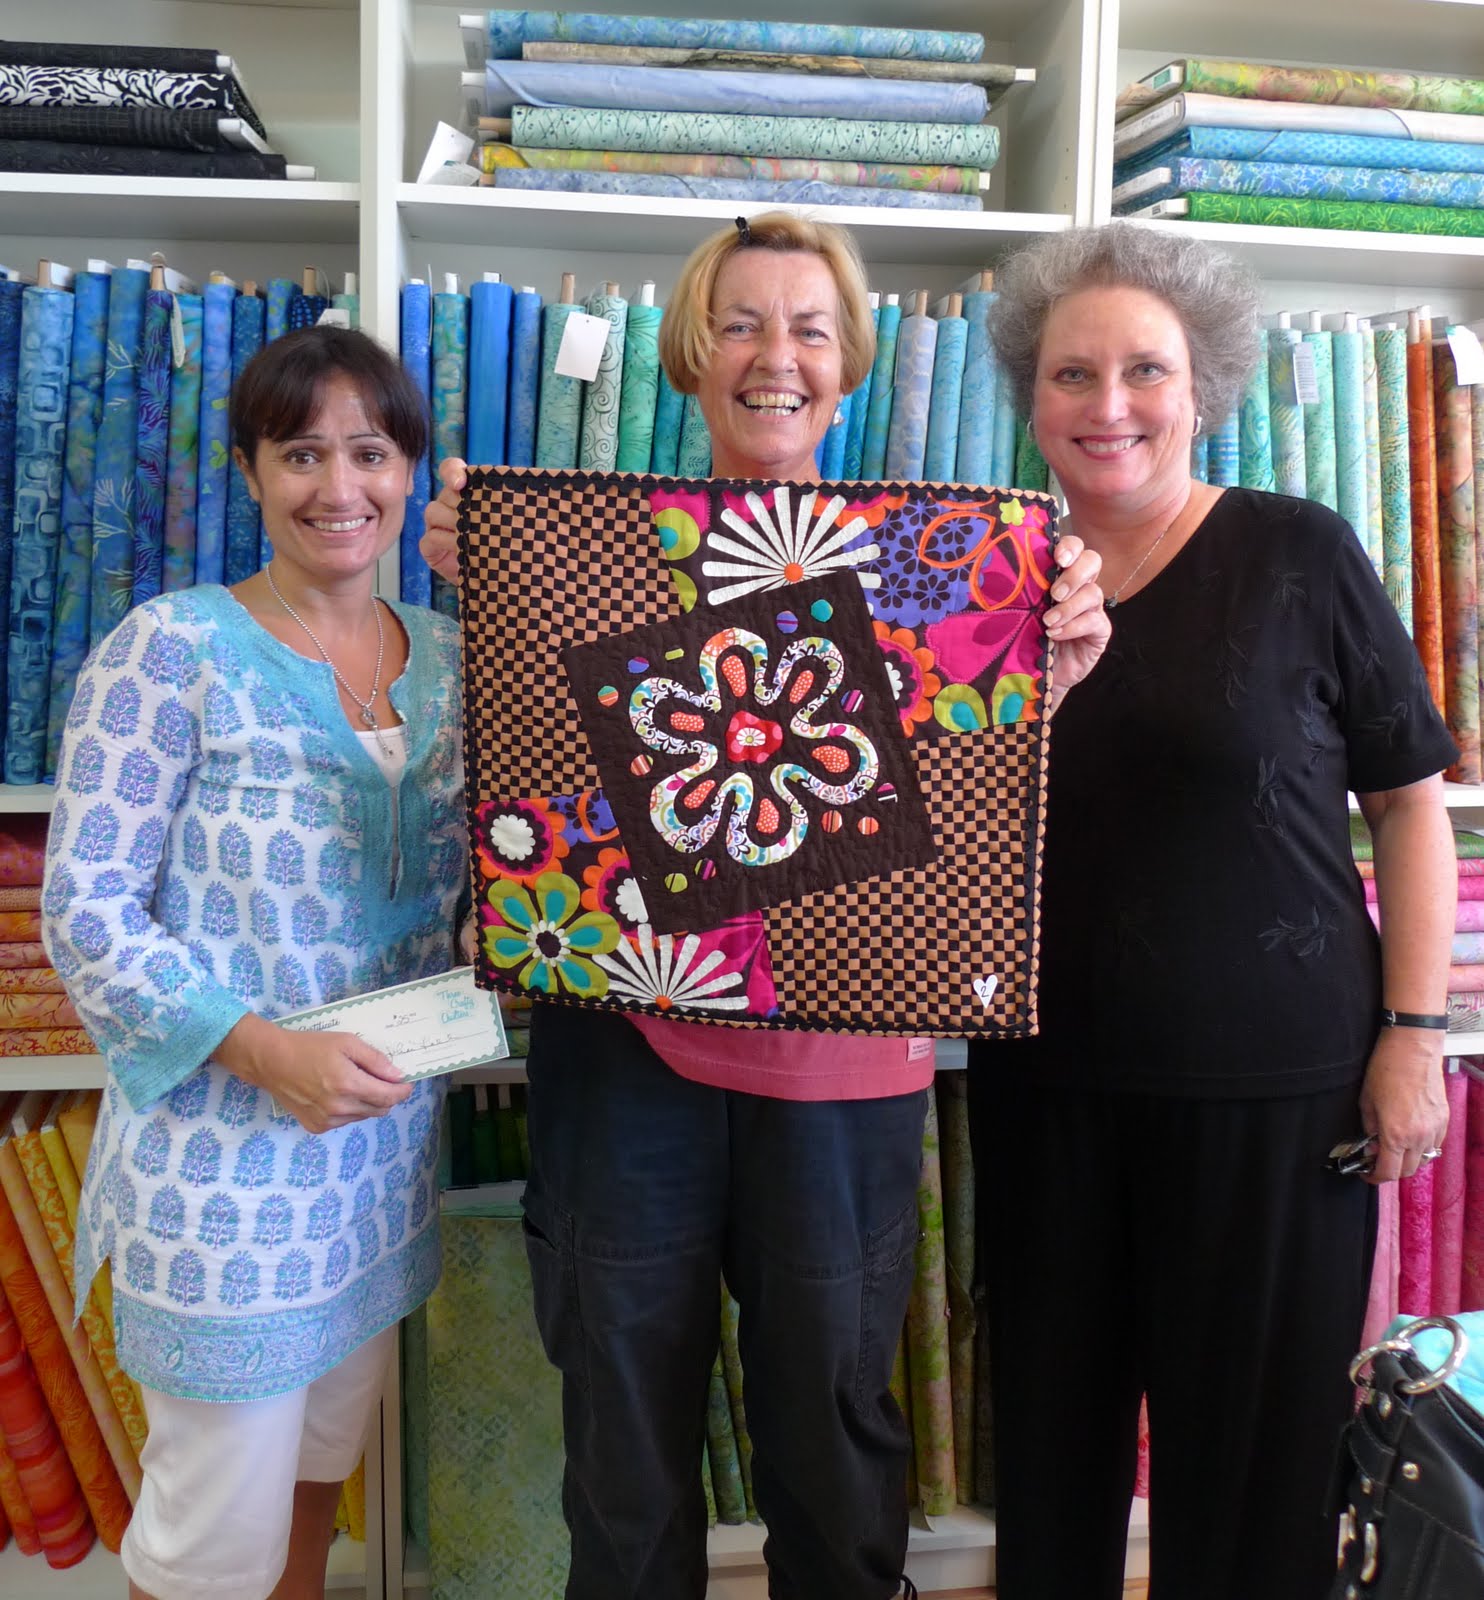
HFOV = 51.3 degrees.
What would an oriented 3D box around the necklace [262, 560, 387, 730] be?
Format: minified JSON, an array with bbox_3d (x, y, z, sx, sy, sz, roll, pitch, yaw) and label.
[{"bbox_3d":[-0.470,-0.163,1.731,0.140,0.189,0.083,-16,-4,-31],"label":"necklace"}]
